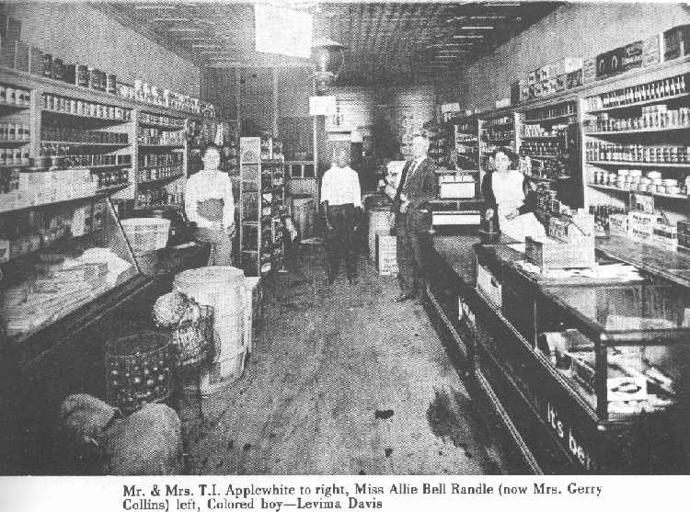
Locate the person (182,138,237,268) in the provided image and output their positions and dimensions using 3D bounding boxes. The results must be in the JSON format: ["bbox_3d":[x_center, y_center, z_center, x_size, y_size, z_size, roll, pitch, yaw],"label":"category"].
[{"bbox_3d":[-1.374,-0.494,5.624,0.429,1.147,0.435,4,16,18],"label":"person"}]

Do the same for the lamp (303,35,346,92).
[{"bbox_3d":[-0.215,-1.915,5.502,0.455,0.554,0.438,0,37,2],"label":"lamp"}]

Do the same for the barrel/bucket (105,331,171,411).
[{"bbox_3d":[-1.555,0.875,4.254,0.445,0.494,0.439,4,7,-1],"label":"barrel/bucket"}]

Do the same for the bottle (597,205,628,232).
[{"bbox_3d":[2.459,-0.337,5.141,0.113,0.193,0.203,-5,14,-2],"label":"bottle"}]

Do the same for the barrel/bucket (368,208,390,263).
[{"bbox_3d":[0.423,-0.279,6.842,0.279,0.574,0.451,0,16,4],"label":"barrel/bucket"}]

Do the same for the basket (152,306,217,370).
[{"bbox_3d":[-1.157,0.593,4.361,0.454,0.448,0.412,-18,-3,-3],"label":"basket"}]

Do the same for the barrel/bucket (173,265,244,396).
[{"bbox_3d":[-1.174,0.628,4.606,0.613,0.938,0.636,-6,-3,0],"label":"barrel/bucket"}]

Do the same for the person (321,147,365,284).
[{"bbox_3d":[-0.035,-0.462,5.743,0.416,1.283,0.491,-2,15,-2],"label":"person"}]

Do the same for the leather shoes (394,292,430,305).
[{"bbox_3d":[0.713,0.426,5.888,0.356,0.128,0.183,1,17,5],"label":"leather shoes"}]
